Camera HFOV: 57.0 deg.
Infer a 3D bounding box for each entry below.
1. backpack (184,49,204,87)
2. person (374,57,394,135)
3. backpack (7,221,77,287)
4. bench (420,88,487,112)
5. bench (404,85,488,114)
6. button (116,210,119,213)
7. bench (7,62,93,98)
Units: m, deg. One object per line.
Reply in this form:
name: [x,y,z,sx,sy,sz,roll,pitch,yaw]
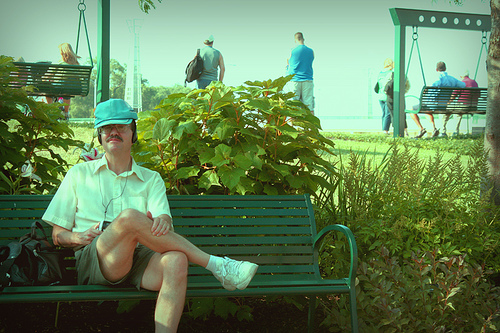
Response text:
backpack: [-1.087,-1.968,9.110,0.416,0.691,0.338,2,8,13]
person: [4.028,-2.148,13.802,0.508,2.221,1.307,2,8,15]
backpack: [-1.652,0.701,3.750,0.495,0.498,0.516,3,3,27]
bench: [5.055,-1.635,11.325,2.276,0.596,0.642,-5,9,-34]
bench: [5.005,-1.625,11.349,2.343,0.671,0.638,-4,8,-27]
button: [-1.105,0.376,3.883,0.020,0.020,0.008,-3,8,-22]
bench: [-3.131,-1.408,7.491,1.276,0.590,0.692,1,7,5]
